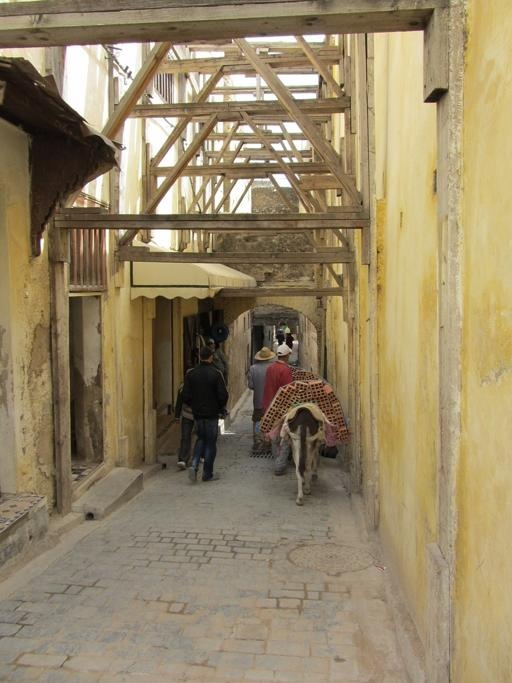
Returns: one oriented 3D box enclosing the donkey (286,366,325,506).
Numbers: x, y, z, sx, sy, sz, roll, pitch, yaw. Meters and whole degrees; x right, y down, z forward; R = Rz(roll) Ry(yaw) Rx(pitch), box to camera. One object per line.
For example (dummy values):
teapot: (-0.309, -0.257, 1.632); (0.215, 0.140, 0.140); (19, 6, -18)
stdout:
donkey: (0.574, 1.147, 7.681); (0.404, 1.039, 1.601); (1, 0, 8)

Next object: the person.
person: (-0.605, 0.832, 8.373); (0.481, 1.486, 0.710); (0, 0, 0)
